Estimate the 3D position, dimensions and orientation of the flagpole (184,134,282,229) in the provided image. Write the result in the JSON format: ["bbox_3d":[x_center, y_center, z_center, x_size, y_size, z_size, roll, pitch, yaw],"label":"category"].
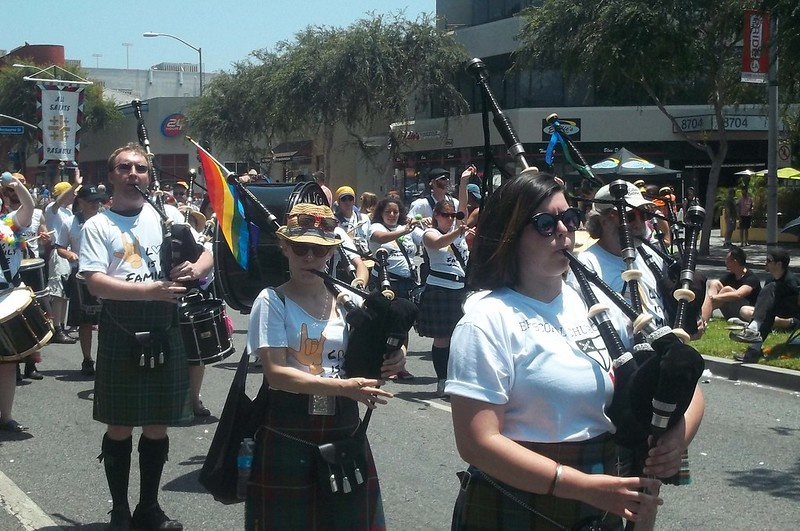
[{"bbox_3d":[-1.289,-0.632,6.372,0.609,0.719,1.327,-3,7,-14],"label":"flagpole"}]

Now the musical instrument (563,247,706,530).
[{"bbox_3d":[1.211,0.531,4.368,0.682,1.213,0.302,5,9,42],"label":"musical instrument"}]

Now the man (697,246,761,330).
[{"bbox_3d":[4.541,0.318,11.742,1.043,1.078,0.671,-4,9,-22],"label":"man"}]

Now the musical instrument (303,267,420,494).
[{"bbox_3d":[-0.205,0.584,5.049,0.439,1.564,0.419,5,9,33],"label":"musical instrument"}]

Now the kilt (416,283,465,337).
[{"bbox_3d":[0.406,0.452,8.372,0.499,0.601,0.325,5,-15,-2],"label":"kilt"}]
